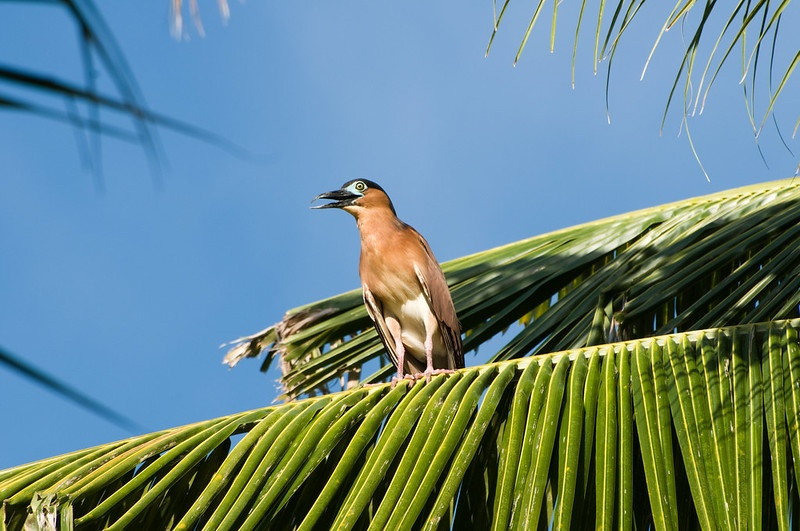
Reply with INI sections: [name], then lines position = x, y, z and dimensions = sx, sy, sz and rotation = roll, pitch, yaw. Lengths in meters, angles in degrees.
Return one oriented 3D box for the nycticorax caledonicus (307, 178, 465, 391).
[nycticorax caledonicus]
position = -0.031, 0.040, 7.111
dimensions = 0.520, 1.282, 0.794
rotation = -18, -16, -6
